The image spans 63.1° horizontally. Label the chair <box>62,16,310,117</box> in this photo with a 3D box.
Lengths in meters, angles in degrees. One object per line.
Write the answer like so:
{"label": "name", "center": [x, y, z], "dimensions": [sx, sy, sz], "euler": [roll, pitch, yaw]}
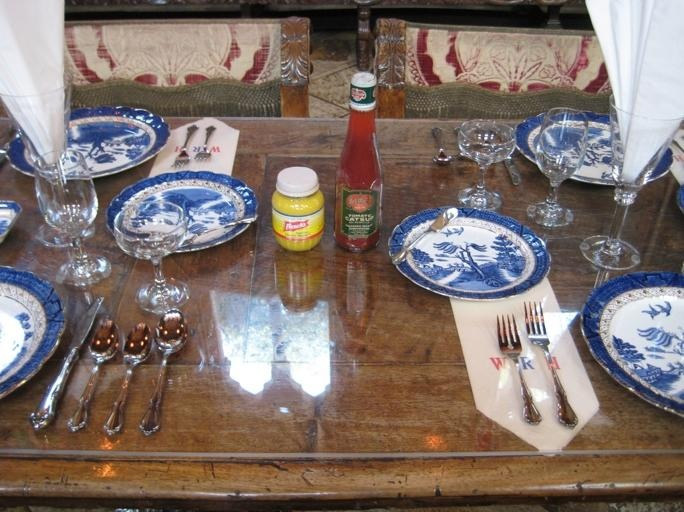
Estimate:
{"label": "chair", "center": [-0.439, -0.452, 1.531], "dimensions": [0.576, 0.327, 0.183], "euler": [-2, 0, -2]}

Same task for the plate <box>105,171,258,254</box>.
{"label": "plate", "center": [-0.291, -0.105, 1.048], "dimensions": [0.254, 0.242, 0.026], "euler": [-10, 75, 13]}

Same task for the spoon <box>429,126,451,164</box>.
{"label": "spoon", "center": [0.196, -0.225, 1.140], "dimensions": [0.030, 0.028, 0.097], "euler": [-6, 35, 2]}

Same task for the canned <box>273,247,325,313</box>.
{"label": "canned", "center": [-0.069, 0.037, 0.867], "dimensions": [0.075, 0.090, 0.083], "euler": [3, 52, -4]}

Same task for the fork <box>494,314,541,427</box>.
{"label": "fork", "center": [0.226, 0.148, 0.749], "dimensions": [0.028, 0.022, 0.143], "euler": [6, 43, -12]}

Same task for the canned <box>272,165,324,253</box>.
{"label": "canned", "center": [-0.073, -0.074, 0.903], "dimensions": [0.091, 0.112, 0.080], "euler": [5, 32, 5]}

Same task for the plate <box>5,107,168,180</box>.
{"label": "plate", "center": [-0.491, -0.256, 1.107], "dimensions": [0.238, 0.031, 0.209], "euler": [-13, 44, -26]}

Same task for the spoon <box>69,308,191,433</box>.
{"label": "spoon", "center": [-0.274, 0.146, 0.730], "dimensions": [0.085, 0.022, 0.150], "euler": [8, 43, 7]}
